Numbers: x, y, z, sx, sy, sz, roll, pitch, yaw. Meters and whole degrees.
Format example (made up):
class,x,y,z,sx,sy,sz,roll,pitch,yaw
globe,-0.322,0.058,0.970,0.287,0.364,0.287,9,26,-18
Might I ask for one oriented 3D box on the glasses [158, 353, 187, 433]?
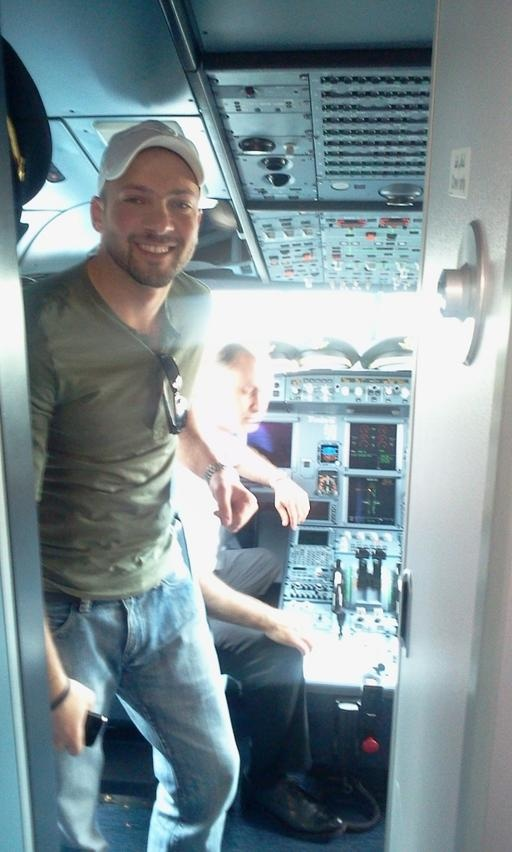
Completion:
class,x,y,z,sx,sy,sz,roll,pitch,yaw
glasses,-0.212,-0.083,1.618,0.039,0.166,0.137,0,5,9

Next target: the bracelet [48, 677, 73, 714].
class,x,y,z,sx,sy,sz,roll,pitch,yaw
bracelet,-0.368,0.514,1.194,0.029,0.051,0.016,7,2,-10

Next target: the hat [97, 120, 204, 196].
class,x,y,z,sx,sy,sz,roll,pitch,yaw
hat,-0.232,-0.590,1.419,0.162,0.107,0.241,-1,4,-13

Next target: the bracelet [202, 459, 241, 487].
class,x,y,z,sx,sy,sz,roll,pitch,yaw
bracelet,-0.137,0.154,2.212,0.045,0.092,0.104,-15,16,-33

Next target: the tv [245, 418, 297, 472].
class,x,y,z,sx,sy,sz,roll,pitch,yaw
tv,0.076,0.065,2.808,0.198,0.223,0.051,6,9,0

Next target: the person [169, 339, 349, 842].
class,x,y,z,sx,sy,sz,roll,pitch,yaw
person,-0.032,0.587,2.421,0.908,1.666,0.691,8,8,38
